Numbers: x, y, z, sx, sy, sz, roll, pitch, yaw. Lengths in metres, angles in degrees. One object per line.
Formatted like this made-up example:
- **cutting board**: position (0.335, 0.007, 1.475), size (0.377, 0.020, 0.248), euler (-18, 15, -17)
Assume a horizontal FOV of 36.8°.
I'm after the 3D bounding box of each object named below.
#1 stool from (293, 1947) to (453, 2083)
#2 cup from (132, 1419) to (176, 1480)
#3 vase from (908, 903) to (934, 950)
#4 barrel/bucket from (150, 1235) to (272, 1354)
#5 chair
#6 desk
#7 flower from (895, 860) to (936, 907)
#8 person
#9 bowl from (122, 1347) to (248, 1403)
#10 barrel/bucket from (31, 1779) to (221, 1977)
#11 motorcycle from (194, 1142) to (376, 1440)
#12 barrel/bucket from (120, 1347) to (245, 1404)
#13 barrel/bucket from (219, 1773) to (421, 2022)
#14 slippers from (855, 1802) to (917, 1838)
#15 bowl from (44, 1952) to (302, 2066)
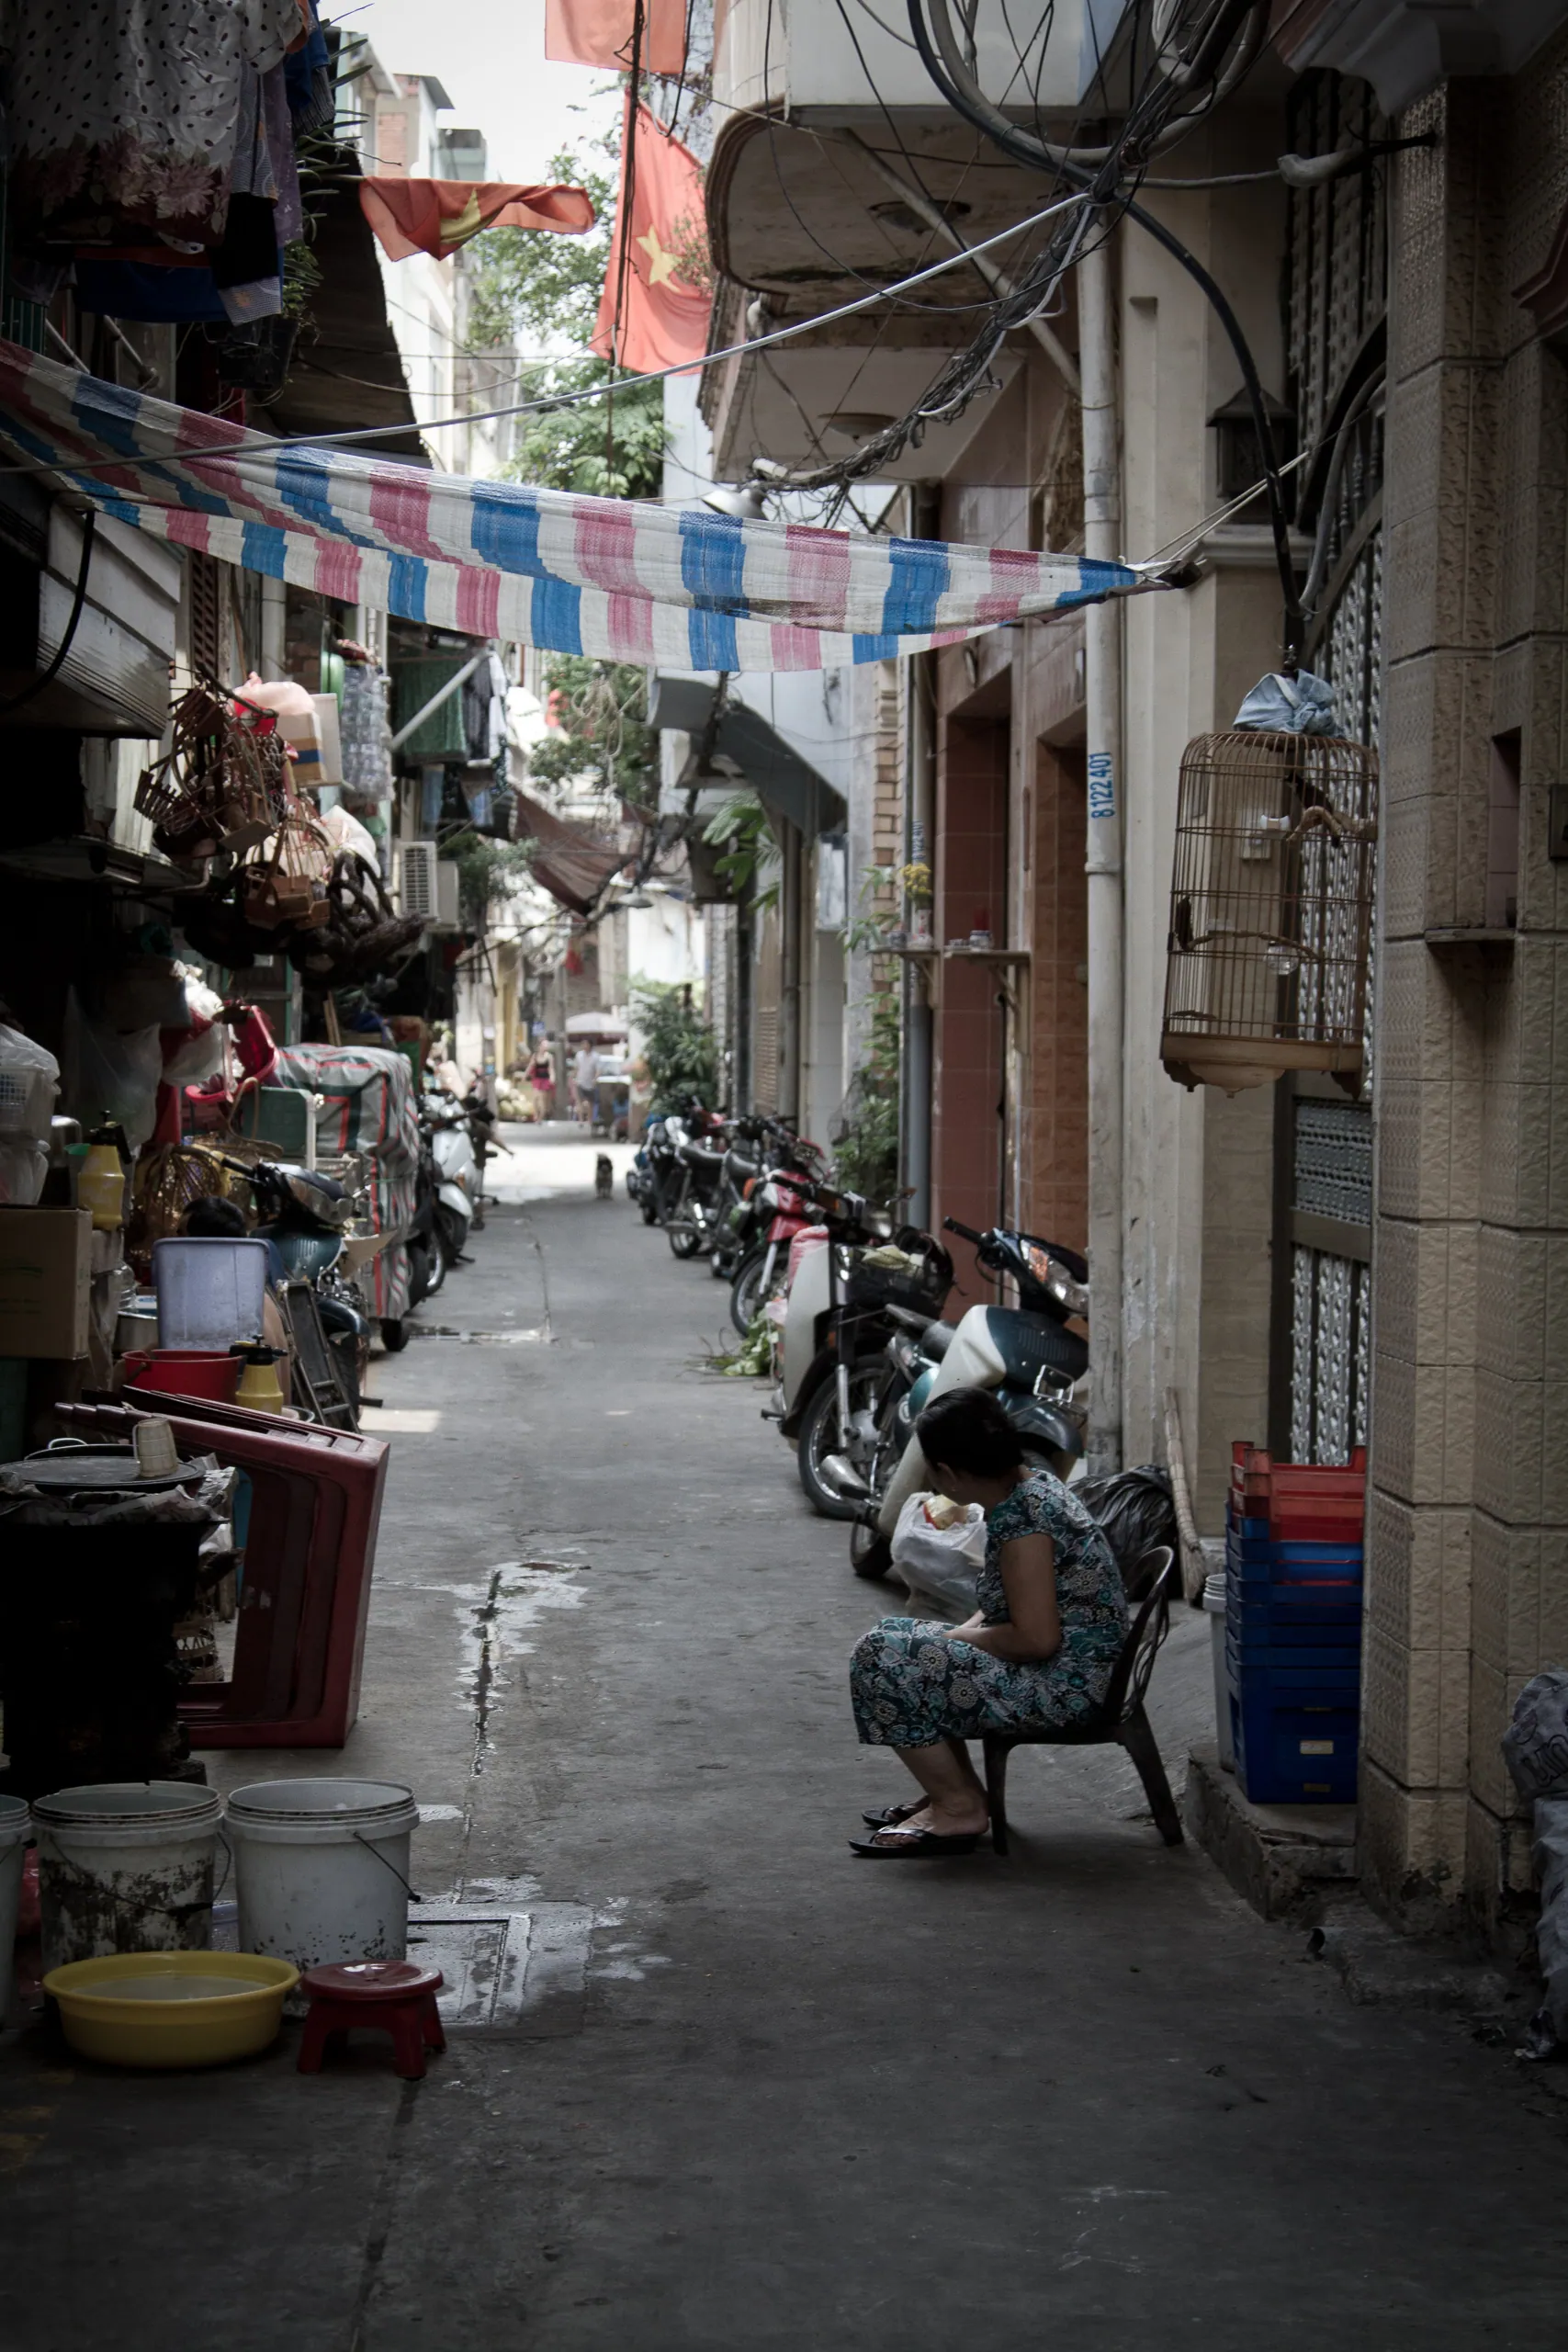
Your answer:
- **stool**: position (-0.614, 1.248, 3.541), size (0.169, 0.116, 0.175), euler (0, -4, -6)
- **cup**: position (-1.277, 0.556, 4.807), size (0.086, 0.107, 0.228), euler (3, -3, -16)
- **vase**: position (0.874, -1.576, 15.033), size (0.147, 0.330, 0.381), euler (2, -3, 2)
- **barrel/bucket**: position (-1.934, 0.371, 8.137), size (0.404, 0.516, 0.376), euler (2, 3, 0)
- **chair**: position (0.630, 1.063, 5.128), size (0.478, 0.692, 0.393), euler (-4, 22, 10)
- **desk**: position (-1.184, 0.979, 5.702), size (0.945, 1.103, 0.647), euler (1, 2, -2)
- **flower**: position (0.858, -1.880, 15.134), size (0.234, 0.258, 0.248), euler (-2, 1, 10)
- **person**: position (0.399, 0.951, 4.932), size (0.570, 0.976, 0.378), euler (4, -3, -37)
- **bowl**: position (-1.837, 0.605, 7.262), size (0.241, 0.185, 0.252), euler (2, -3, 0)
- **barrel/bucket**: position (-1.074, 1.165, 3.885), size (0.274, 0.292, 0.282), euler (2, -4, 0)
- **motorcycle**: position (-1.974, 0.429, 9.587), size (0.657, 0.869, 1.301), euler (-1, 5, 6)
- **barrel/bucket**: position (-1.841, 0.608, 7.183), size (0.242, 0.185, 0.252), euler (2, -3, 0)
- **barrel/bucket**: position (-0.775, 1.176, 3.951), size (0.298, 0.290, 0.303), euler (0, -3, 0)
- **slippers**: position (0.234, 1.414, 5.170), size (0.049, 0.038, 0.135), euler (-4, -7, 34)
- **bowl**: position (-0.923, 1.270, 3.577), size (0.377, 0.128, 0.350), euler (2, -3, 0)
